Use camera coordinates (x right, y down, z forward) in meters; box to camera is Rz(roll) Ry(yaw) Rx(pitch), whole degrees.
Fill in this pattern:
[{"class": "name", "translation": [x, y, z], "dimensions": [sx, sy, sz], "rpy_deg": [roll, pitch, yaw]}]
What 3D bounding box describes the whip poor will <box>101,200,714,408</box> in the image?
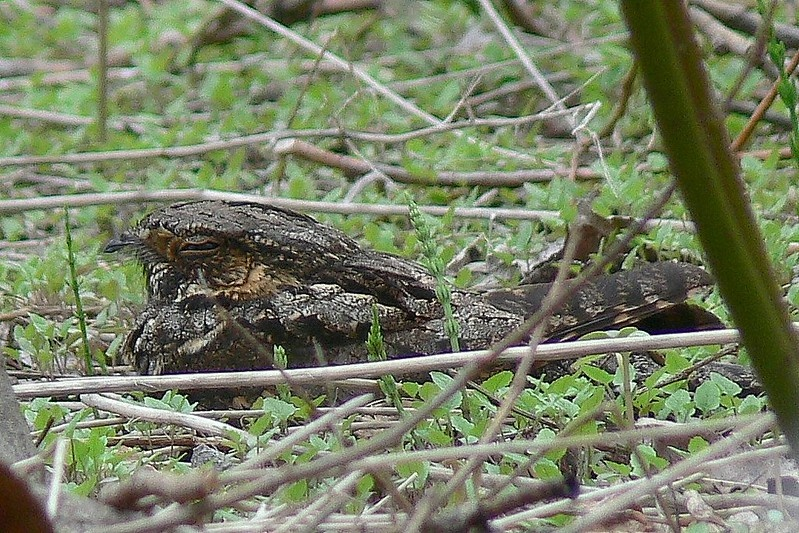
[{"class": "whip poor will", "translation": [0.185, 0.122, 3.747], "dimensions": [2.833, 0.866, 0.720], "rpy_deg": [-1, 16, 6]}]
